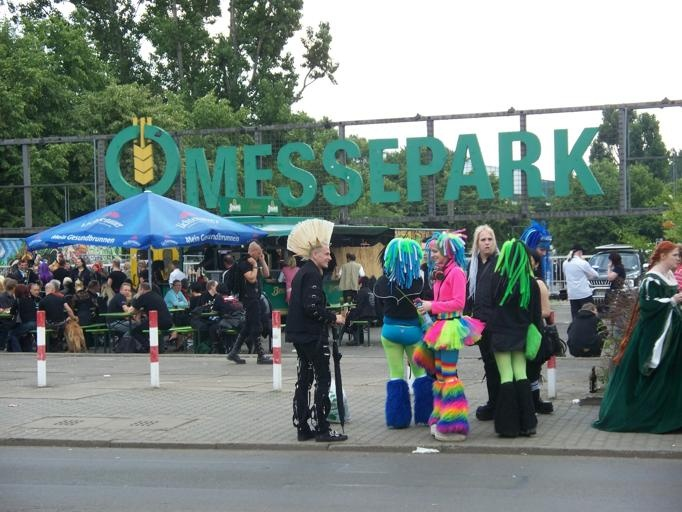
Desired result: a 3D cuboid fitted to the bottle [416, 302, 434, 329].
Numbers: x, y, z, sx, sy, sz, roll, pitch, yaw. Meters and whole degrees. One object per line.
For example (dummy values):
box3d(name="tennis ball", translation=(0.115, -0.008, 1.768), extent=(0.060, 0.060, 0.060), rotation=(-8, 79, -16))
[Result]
box3d(name="bottle", translation=(1.437, 1.051, 22.500), extent=(0.292, 0.551, 0.279), rotation=(-2, 12, 0))

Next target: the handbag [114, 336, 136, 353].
box3d(name="handbag", translation=(-5.117, 2.148, 31.454), extent=(0.463, 0.454, 0.336), rotation=(1, 6, -1))

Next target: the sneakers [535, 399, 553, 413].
box3d(name="sneakers", translation=(3.634, 2.688, 23.409), extent=(0.206, 0.259, 0.403), rotation=(8, 15, 38))

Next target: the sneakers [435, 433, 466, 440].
box3d(name="sneakers", translation=(1.844, 3.059, 22.125), extent=(0.468, 0.208, 0.168), rotation=(4, -3, 0))

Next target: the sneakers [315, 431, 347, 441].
box3d(name="sneakers", translation=(-0.156, 3.099, 22.360), extent=(0.428, 0.165, 0.223), rotation=(0, -3, -4))
